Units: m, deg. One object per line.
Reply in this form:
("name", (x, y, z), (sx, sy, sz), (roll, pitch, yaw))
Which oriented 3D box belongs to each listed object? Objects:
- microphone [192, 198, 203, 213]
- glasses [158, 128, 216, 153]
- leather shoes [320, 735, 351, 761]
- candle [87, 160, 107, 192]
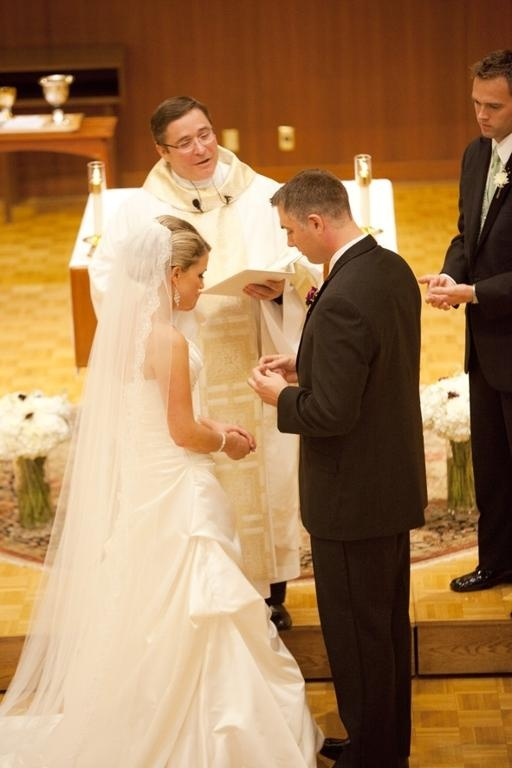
("microphone", (-0.210, -0.630, 2.537), (0.015, 0.044, 0.031), (-39, 15, -15))
("glasses", (-0.228, -0.797, 2.363), (0.180, 0.069, 0.094), (-4, 9, -4))
("leather shoes", (0.220, 1.038, 2.042), (0.097, 0.043, 0.123), (2, 0, 9))
("candle", (-0.671, -0.868, 3.017), (0.064, 0.135, 0.121), (-7, 10, -14))
